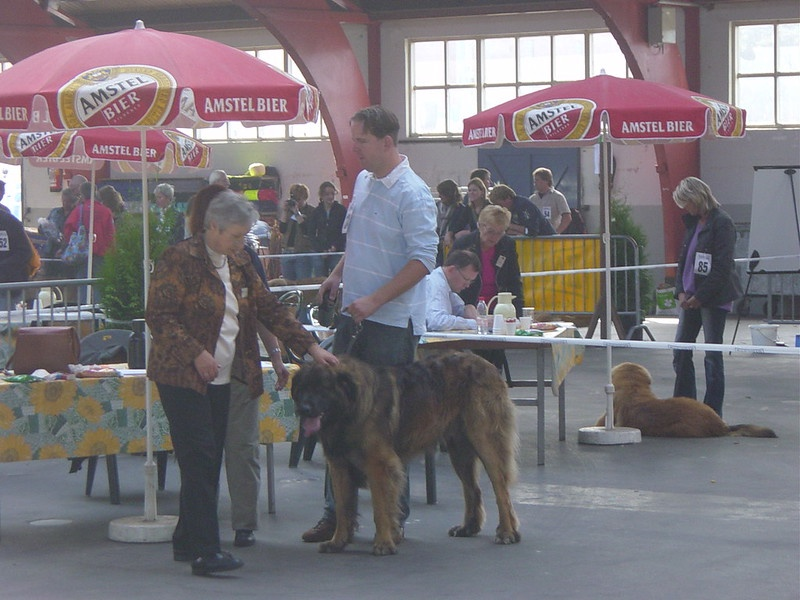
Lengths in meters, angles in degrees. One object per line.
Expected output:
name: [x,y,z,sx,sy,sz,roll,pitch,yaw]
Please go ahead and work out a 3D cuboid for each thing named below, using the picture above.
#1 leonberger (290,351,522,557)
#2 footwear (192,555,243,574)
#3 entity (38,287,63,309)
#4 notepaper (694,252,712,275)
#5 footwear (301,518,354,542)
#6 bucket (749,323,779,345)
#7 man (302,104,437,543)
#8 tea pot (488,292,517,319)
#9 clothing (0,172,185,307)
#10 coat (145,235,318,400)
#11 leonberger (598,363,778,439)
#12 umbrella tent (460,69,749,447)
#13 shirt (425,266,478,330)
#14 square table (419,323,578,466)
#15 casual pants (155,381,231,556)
leonberger: [0.034,1.055,10.491,1.896,1.387,0.619,2,-2,-37]
footwear: [-1.230,1.759,10.131,0.244,0.112,0.135,-3,3,-18]
entity: [-3.648,-0.009,15.774,0.198,0.253,0.264,2,-8,-25]
notepaper: [2.745,-0.323,13.644,0.016,0.224,0.189,-6,8,-42]
footwear: [-0.504,1.638,10.598,0.312,0.154,0.109,2,-1,-21]
bucket: [4.366,0.433,18.094,0.265,0.252,0.288,-1,-2,0]
man: [-0.243,0.221,10.696,0.885,3.265,0.963,4,-2,-43]
tea pot: [0.845,0.064,12.744,0.271,0.302,0.185,-1,1,8]
clothing: [-3.597,-0.745,17.542,1.865,1.272,1.937,1,2,18]
coat: [-1.229,0.034,10.509,0.954,1.251,1.305,3,0,32]
leonberger: [2.510,0.965,13.520,1.883,0.832,0.628,-5,-2,35]
umbrella tent: [1.895,-0.369,14.504,2.938,3.544,2.991,-1,-2,5]
shirt: [0.427,0.042,12.600,0.436,0.461,0.658,-3,7,4]
square table: [0.895,0.586,12.784,1.064,0.780,1.552,-1,1,6]
casual pants: [-1.368,1.172,10.162,0.474,1.236,0.396,-2,10,-9]
